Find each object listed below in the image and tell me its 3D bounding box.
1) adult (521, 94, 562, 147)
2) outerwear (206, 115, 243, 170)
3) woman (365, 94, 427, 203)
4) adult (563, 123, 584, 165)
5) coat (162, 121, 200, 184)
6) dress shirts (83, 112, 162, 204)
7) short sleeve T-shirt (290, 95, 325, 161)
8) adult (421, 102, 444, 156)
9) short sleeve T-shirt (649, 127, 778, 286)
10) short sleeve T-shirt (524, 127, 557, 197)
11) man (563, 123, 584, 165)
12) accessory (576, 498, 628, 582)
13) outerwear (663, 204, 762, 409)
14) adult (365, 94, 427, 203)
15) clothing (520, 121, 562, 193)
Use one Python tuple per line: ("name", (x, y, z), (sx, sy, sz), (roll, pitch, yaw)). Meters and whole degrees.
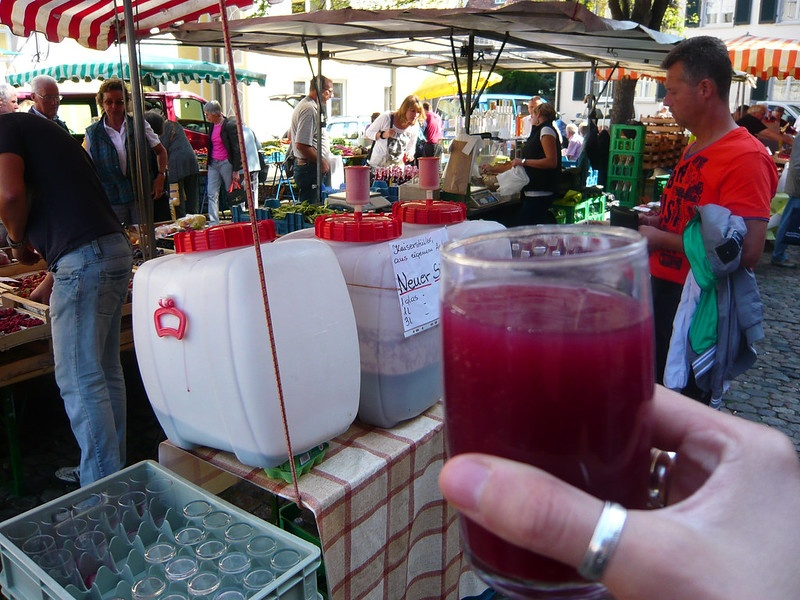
("adult", (1.961, -2.575, 7.946), (0.424, 0.718, 0.418), (3, 17, -25))
("outerwear", (-2.541, -2.274, 8.221), (0.824, 0.785, 0.434), (14, 23, 41))
("woman", (-0.058, -2.223, 7.583), (0.768, 1.055, 1.510), (-1, 17, 2))
("adult", (3.653, -3.293, 11.809), (0.438, 0.855, 0.465), (-12, 45, -1))
("coat", (-3.098, -2.033, 7.698), (0.324, 0.819, 0.533), (9, 20, 31))
("dress shirts", (-2.010, -0.999, 4.058), (0.425, 0.581, 0.294), (-12, 13, -17))
("short sleeve T-shirt", (-1.133, -2.045, 6.787), (0.586, 0.769, 0.264), (14, 23, 41))
("adult", (0.487, -2.801, 8.676), (0.251, 0.771, 0.268), (1, -17, -38))
("short sleeve T-shirt", (1.281, -0.424, 2.334), (0.327, 0.560, 0.592), (-4, 18, -1))
("short sleeve T-shirt", (1.449, -1.429, 5.709), (0.377, 0.675, 0.479), (2, 17, 12))
("man", (3.625, -3.277, 11.817), (0.444, 0.853, 0.563), (1, 41, 12))
("accessory", (0.232, 0.274, 0.630), (0.051, 0.076, 0.028), (-16, 22, -40))
("outerwear", (1.232, 0.064, 2.162), (0.311, 0.854, 0.240), (9, 20, 33))
("adult", (-0.132, -1.943, 7.861), (0.663, 1.891, 0.622), (7, 31, -3))
("clothing", (1.502, -1.491, 5.840), (0.393, 0.759, 0.533), (2, 21, 17))
